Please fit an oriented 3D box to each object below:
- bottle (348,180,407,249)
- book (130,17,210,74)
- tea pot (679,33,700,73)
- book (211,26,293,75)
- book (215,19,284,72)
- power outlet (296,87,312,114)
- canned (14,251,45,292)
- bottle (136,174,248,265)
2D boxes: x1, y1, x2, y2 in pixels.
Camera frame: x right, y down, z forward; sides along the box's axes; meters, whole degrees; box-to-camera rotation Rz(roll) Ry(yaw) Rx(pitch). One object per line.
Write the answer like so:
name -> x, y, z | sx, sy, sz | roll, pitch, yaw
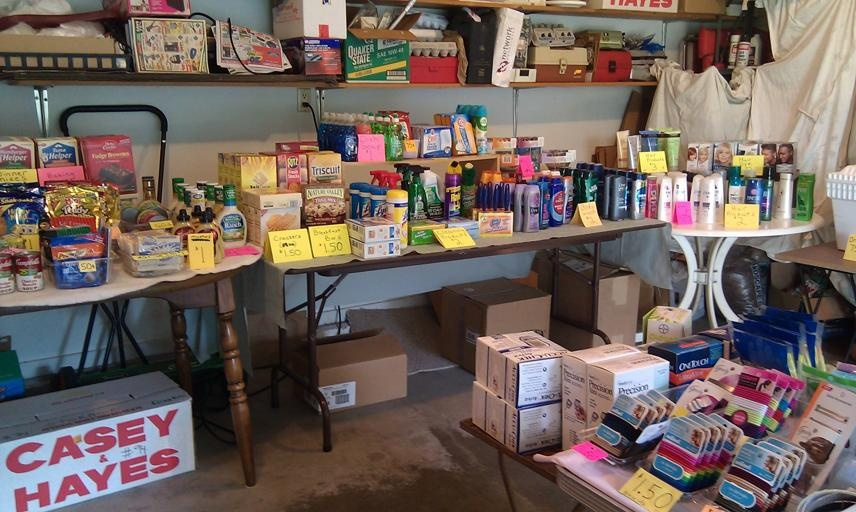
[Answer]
bottle -> -0.306, -0.241, 3.608 | 0.411, 0.322, 0.217 | 7, 16, 13
book -> -1.616, -1.300, 3.647 | 0.422, 0.273, 0.054 | -3, 16, -18
tea pot -> 2.608, -1.956, 5.736 | 0.212, 0.287, 0.179 | -12, 25, -7
book -> -1.176, -1.367, 3.896 | 0.091, 0.265, 0.476 | 13, 15, 41
book -> -1.185, -1.370, 3.890 | 0.535, 0.288, 0.109 | -6, 6, -31
power outlet -> -0.948, -1.189, 4.512 | 0.124, 0.175, 0.035 | -9, 18, -14
canned -> -1.938, 0.074, 2.859 | 0.129, 0.191, 0.073 | -15, 20, -29
bottle -> -1.236, -0.220, 3.328 | 0.474, 0.311, 0.460 | 4, 19, -1
